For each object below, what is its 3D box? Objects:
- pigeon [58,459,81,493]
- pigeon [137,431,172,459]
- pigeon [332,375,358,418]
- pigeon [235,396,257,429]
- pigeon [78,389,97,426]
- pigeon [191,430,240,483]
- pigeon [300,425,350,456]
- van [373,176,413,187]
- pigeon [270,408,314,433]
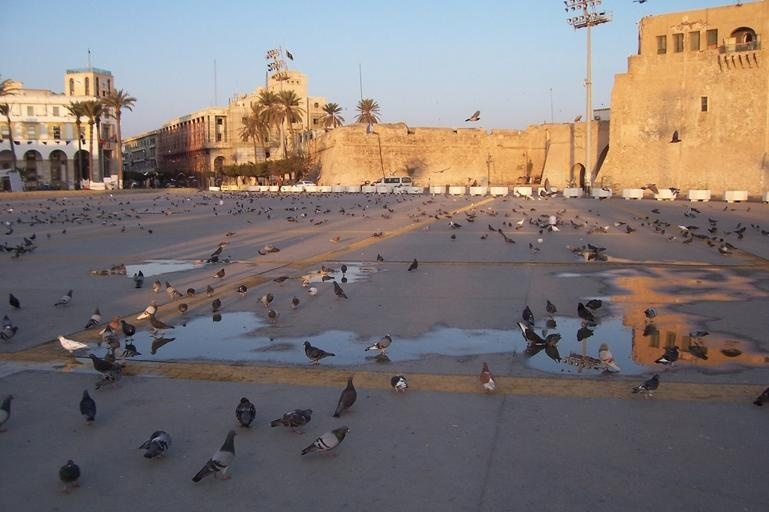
[{"bbox_3d":[-3.162,2.200,6.601,0.189,0.230,0.320,2,8,-18],"label":"pigeon"},{"bbox_3d":[-2.431,2.008,6.989,0.341,0.271,0.336,-4,14,-10],"label":"pigeon"},{"bbox_3d":[-0.437,1.650,7.724,0.198,0.403,0.400,17,26,22],"label":"pigeon"},{"bbox_3d":[-1.555,1.764,7.539,0.190,0.249,0.380,1,8,-11],"label":"pigeon"},{"bbox_3d":[-3.403,1.712,7.615,0.185,0.351,0.338,-8,16,-26],"label":"pigeon"},{"bbox_3d":[-1.689,2.057,6.656,0.220,0.440,0.609,4,14,43],"label":"pigeon"},{"bbox_3d":[-0.617,1.975,7.035,0.524,0.345,0.489,-3,14,-9],"label":"pigeon"},{"bbox_3d":[0.855,-7.160,62.882,2.681,1.239,1.578,7,12,29],"label":"van"},{"bbox_3d":[-1.031,1.837,7.443,0.471,0.264,0.396,-3,14,-10],"label":"pigeon"}]
